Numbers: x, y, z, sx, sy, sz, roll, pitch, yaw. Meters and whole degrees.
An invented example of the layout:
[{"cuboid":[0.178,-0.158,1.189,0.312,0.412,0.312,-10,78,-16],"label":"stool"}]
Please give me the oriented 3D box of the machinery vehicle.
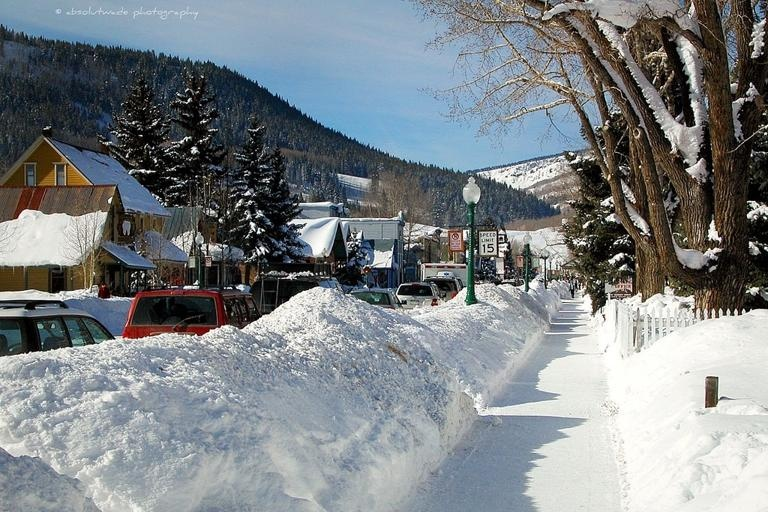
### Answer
[{"cuboid":[-2.998,0.942,26.713,1.317,1.425,2.402,0,4,22],"label":"machinery vehicle"}]
